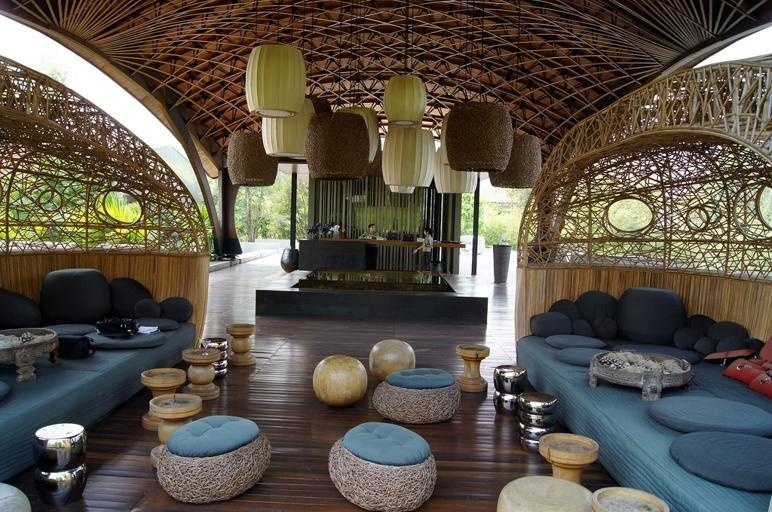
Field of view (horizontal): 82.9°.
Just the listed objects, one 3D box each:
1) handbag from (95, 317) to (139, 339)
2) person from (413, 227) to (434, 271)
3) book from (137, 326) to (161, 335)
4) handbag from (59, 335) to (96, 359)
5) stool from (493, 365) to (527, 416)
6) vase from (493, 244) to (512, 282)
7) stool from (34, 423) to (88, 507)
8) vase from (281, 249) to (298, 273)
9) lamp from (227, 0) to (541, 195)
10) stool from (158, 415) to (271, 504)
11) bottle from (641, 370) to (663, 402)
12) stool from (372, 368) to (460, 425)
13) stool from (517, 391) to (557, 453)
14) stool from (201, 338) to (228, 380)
[{"bbox_3d":[-2.983,0.798,4.861,0.301,0.153,0.266,1,2,-11],"label":"handbag"},{"bbox_3d":[1.273,-0.154,14.843,0.543,0.485,1.536,14,21,6],"label":"person"},{"bbox_3d":[-2.737,0.857,5.053,0.215,0.058,0.307,-2,7,-26],"label":"book"},{"bbox_3d":[-3.103,0.890,4.394,0.325,0.203,0.228,2,5,8],"label":"handbag"},{"bbox_3d":[1.320,1.408,4.554,0.406,0.388,0.398,11,-14,-38],"label":"stool"},{"bbox_3d":[3.571,0.235,13.447,0.560,1.177,0.486,0,8,-10],"label":"vase"},{"bbox_3d":[-2.293,1.463,3.088,0.332,0.484,0.237,4,8,19],"label":"stool"},{"bbox_3d":[-3.194,0.151,14.343,0.519,0.752,0.478,5,9,29],"label":"vase"},{"bbox_3d":[0.222,-1.201,3.865,1.963,1.846,1.785,0,-5,16],"label":"lamp"},{"bbox_3d":[-1.260,1.501,3.225,0.760,0.425,0.469,-2,8,-21],"label":"stool"},{"bbox_3d":[2.307,1.105,3.752,0.189,0.253,0.097,2,8,4],"label":"bottle"},{"bbox_3d":[0.326,1.332,4.472,0.885,0.307,0.779,13,1,28],"label":"stool"},{"bbox_3d":[1.310,1.429,3.811,0.444,0.437,0.415,1,0,-2],"label":"stool"},{"bbox_3d":[-1.984,1.192,5.075,0.259,0.397,0.397,-3,8,-26],"label":"stool"}]
